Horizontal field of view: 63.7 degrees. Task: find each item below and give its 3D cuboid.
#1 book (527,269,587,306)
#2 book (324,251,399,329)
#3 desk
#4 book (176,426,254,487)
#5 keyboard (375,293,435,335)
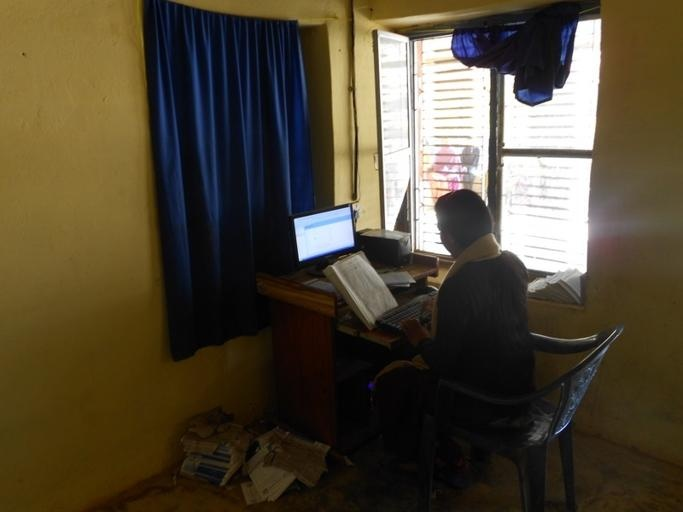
[{"bbox_3d":[1.395,0.222,3.567,0.268,0.105,0.223,-11,47,19],"label":"book"},{"bbox_3d":[0.075,0.240,3.269,0.120,0.419,0.401,-35,0,36],"label":"book"},{"bbox_3d":[0.229,0.498,3.930,1.029,1.173,1.389,14,25,33],"label":"desk"},{"bbox_3d":[-0.783,1.201,3.387,0.387,0.213,0.330,5,19,12],"label":"book"},{"bbox_3d":[0.388,0.328,3.170,0.157,0.066,0.341,14,27,36],"label":"keyboard"}]
